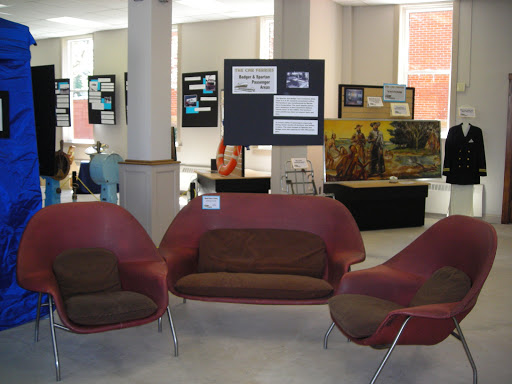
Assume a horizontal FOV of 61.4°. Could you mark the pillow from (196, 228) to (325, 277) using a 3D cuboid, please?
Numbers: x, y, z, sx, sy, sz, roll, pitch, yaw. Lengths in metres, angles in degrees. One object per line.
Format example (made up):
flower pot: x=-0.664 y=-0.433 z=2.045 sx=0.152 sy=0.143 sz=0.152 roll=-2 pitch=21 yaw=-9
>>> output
pillow: x=0.053 y=0.531 z=3.837 sx=1.126 sy=0.323 sz=0.362 roll=2 pitch=10 yaw=5

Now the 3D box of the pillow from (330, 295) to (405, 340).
pillow: x=0.725 y=0.808 z=2.897 sx=0.304 sy=0.091 sz=0.279 roll=-6 pitch=16 yaw=-27

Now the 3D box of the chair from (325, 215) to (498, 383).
chair: x=1.094 y=0.694 z=3.151 sx=1.159 sy=1.087 sz=1.246 roll=-7 pitch=8 yaw=-7

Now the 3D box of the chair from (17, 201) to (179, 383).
chair: x=-1.250 y=0.559 z=3.403 sx=1.194 sy=1.035 sz=1.178 roll=-2 pitch=9 yaw=-32

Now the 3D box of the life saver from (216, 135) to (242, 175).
life saver: x=-0.489 y=-0.572 z=7.403 sx=0.167 sy=0.622 sz=0.530 roll=17 pitch=-16 yaw=-28
